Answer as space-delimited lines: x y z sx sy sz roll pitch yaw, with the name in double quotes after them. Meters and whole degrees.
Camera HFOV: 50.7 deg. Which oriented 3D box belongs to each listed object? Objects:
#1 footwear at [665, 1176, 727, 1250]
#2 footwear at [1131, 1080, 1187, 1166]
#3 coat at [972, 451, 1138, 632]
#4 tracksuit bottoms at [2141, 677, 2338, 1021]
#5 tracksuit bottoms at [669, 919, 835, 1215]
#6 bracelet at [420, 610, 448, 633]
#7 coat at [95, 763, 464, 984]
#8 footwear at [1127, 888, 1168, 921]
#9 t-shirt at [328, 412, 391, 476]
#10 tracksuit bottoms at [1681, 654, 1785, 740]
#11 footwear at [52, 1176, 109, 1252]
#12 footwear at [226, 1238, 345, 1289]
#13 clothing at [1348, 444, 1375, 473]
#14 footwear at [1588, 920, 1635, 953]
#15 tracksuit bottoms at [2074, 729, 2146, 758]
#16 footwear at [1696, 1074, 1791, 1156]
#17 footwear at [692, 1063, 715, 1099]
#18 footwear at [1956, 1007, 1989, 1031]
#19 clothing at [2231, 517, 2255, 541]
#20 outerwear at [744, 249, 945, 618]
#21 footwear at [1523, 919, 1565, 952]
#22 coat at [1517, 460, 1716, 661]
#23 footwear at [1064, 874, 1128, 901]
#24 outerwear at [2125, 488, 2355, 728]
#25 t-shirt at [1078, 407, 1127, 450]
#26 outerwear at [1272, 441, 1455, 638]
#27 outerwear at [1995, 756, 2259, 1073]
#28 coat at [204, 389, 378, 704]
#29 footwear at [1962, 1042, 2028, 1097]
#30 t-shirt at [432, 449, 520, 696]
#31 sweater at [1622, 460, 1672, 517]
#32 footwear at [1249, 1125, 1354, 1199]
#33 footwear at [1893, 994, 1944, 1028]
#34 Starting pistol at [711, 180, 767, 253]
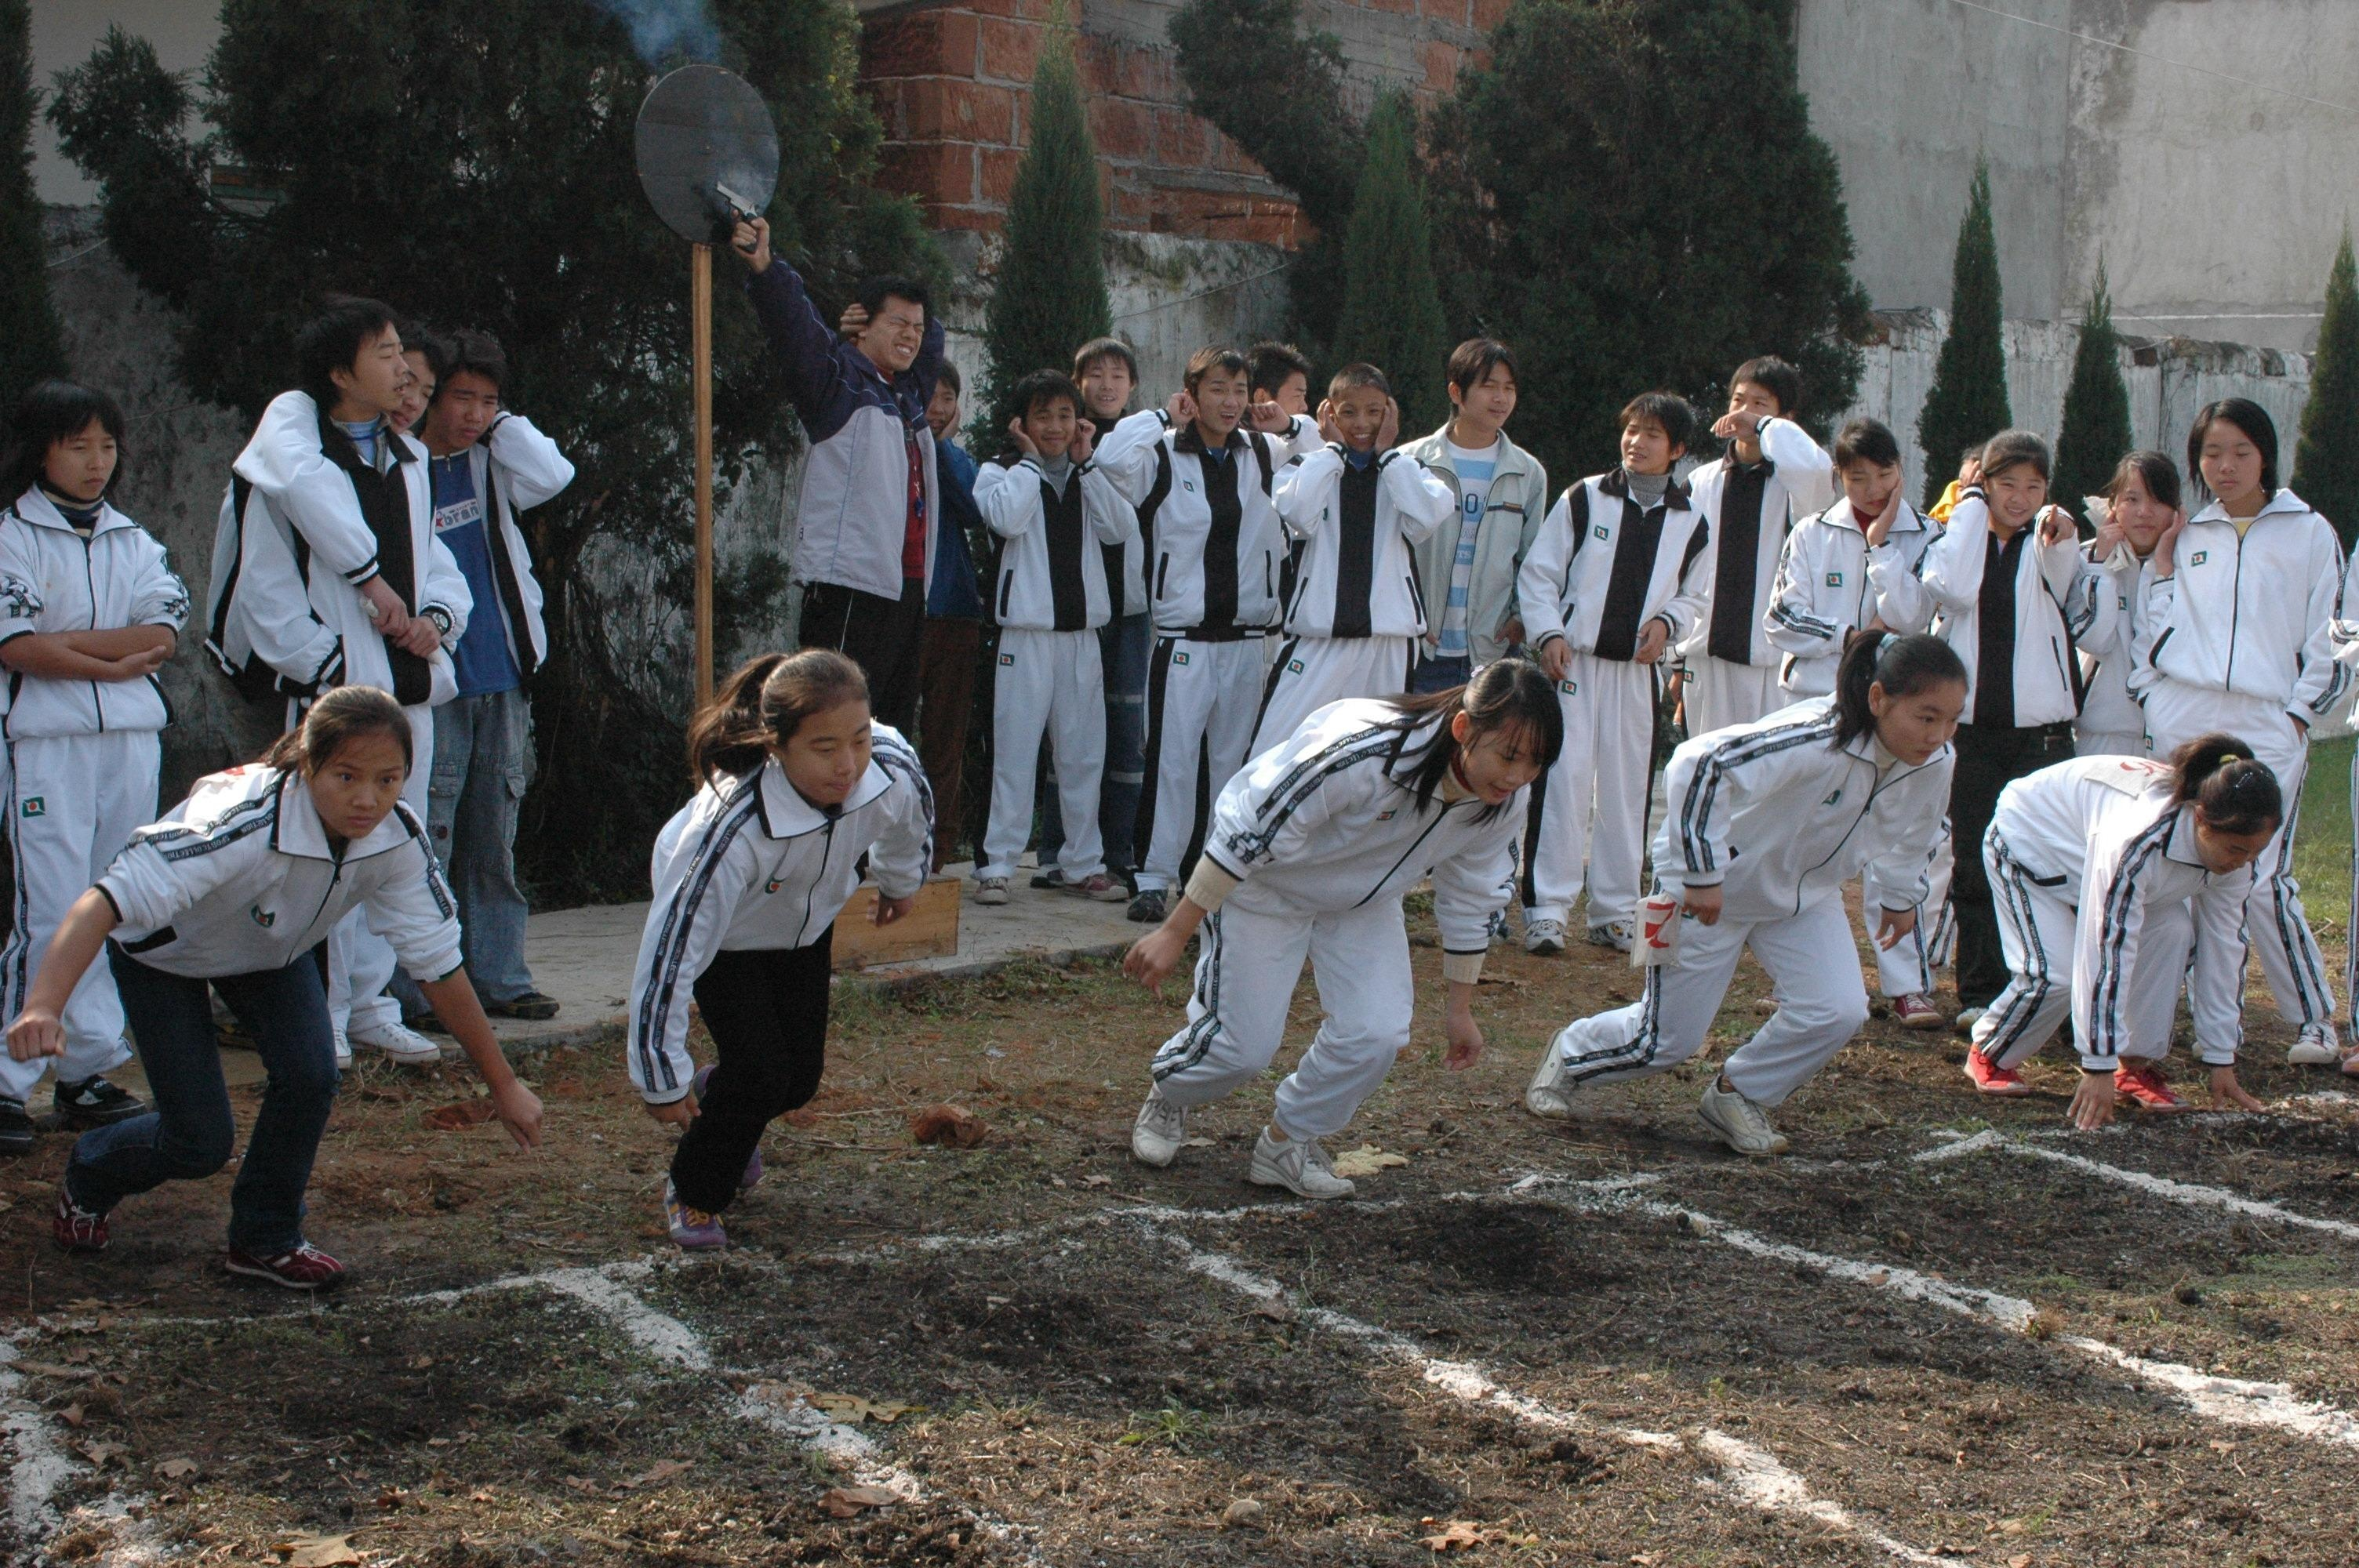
-1.440 1.277 7.444 0.110 0.115 0.272 1 14 -41 "footwear"
-0.058 1.124 8.079 0.117 0.339 0.145 19 -42 -24 "footwear"
-0.492 -1.025 10.445 0.743 0.801 0.443 2 -8 -23 "coat"
4.085 0.204 9.412 0.390 1.426 0.785 -3 13 -37 "tracksuit bottoms"
-1.263 0.830 7.364 0.435 1.011 0.390 25 36 14 "tracksuit bottoms"
-2.465 -0.535 8.291 0.045 0.072 0.076 -36 34 8 "bracelet"
-2.572 0.292 7.011 0.622 0.485 1.038 -9 -16 33 "coat"
-0.121 0.497 10.316 0.094 0.096 0.201 1 -4 5 "footwear"
-2.645 -1.112 8.205 0.189 0.131 0.189 -23 2 13 "t-shirt"
2.234 -0.361 9.967 0.271 0.476 0.358 -7 10 -40 "tracksuit bottoms"
-3.166 1.264 7.232 0.112 0.107 0.235 6 3 -40 "footwear"
-2.560 1.352 7.208 0.334 0.150 0.129 7 9 2 "footwear"
0.739 -1.309 10.051 0.091 0.080 0.113 8 7 -6 "clothing"
1.826 0.635 10.545 0.111 0.073 0.169 1 1 -41 "footwear"
3.683 -0.165 9.868 0.215 0.084 0.156 5 -4 -4 "tracksuit bottoms"
1.919 1.120 8.439 0.162 0.158 0.372 -27 53 -38 "footwear"
-1.414 0.880 7.438 0.072 0.100 0.100 -5 -14 21 "footwear"
3.013 0.889 9.460 0.116 0.056 0.073 -46 18 -19 "footwear"
4.098 -0.994 9.613 0.073 0.101 0.035 -2 -4 11 "clothing"
-1.293 -1.412 9.863 0.509 1.271 1.658 0 -4 20 "outerwear"
1.536 0.628 10.431 0.089 0.093 0.208 2 9 13 "footwear"
1.818 -0.904 10.291 0.771 0.719 0.468 21 6 -4 "coat"
-0.353 0.444 10.762 0.285 0.110 0.117 2 4 18 "footwear"
4.070 -0.661 9.584 0.588 0.982 0.802 12 -4 -41 "outerwear"
-0.320 -1.503 10.515 0.151 0.168 0.196 9 0 6 "t-shirt"
0.752 -1.000 10.090 0.747 0.717 0.416 3 -14 -1 "outerwear"
3.232 0.483 8.668 0.872 1.123 0.996 3 5 23 "outerwear"
-2.938 -0.729 8.093 0.344 0.893 0.705 10 5 29 "coat"
2.952 1.040 9.073 0.109 0.116 0.270 -1 3 -23 "footwear"
-2.420 -0.727 8.596 0.197 0.717 0.443 -6 0 14 "t-shirt"
1.929 -1.214 10.278 0.181 0.161 0.201 3 7 5 "sweater"
0.377 1.205 7.994 0.394 0.205 0.151 11 10 15 "footwear"
2.890 0.881 9.737 0.096 0.092 0.238 -5 -6 -3 "footwear"
-1.582 -2.061 9.021 0.250 0.172 0.035 30 -16 -10 "Starting pistol"
